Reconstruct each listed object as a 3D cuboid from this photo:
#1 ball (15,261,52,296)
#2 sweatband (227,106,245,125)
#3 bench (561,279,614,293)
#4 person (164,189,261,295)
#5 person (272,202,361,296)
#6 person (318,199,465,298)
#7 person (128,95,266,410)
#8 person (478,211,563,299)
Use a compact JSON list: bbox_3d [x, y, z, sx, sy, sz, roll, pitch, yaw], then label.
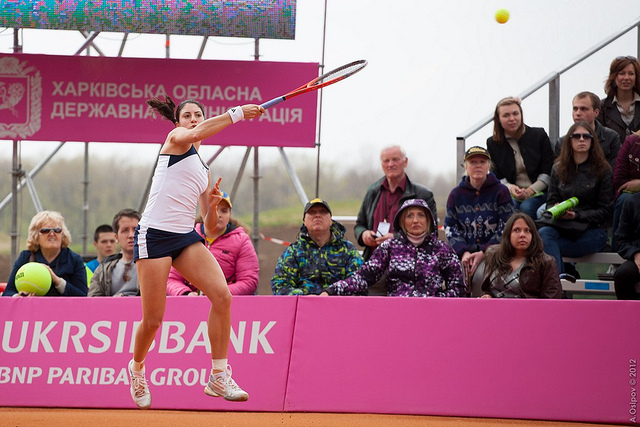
[{"bbox_3d":[-3.153,0.721,9.538,0.340,0.372,0.365,-9,23,4],"label":"ball"},{"bbox_3d":[-0.790,-0.939,8.210,0.127,0.139,0.165,-22,1,4],"label":"sweatband"},{"bbox_3d":[3.143,0.842,9.975,0.854,0.144,0.196,1,9,2],"label":"bench"},{"bbox_3d":[-1.216,0.493,9.751,0.997,1.555,0.905,0,1,-2],"label":"person"},{"bbox_3d":[0.026,0.462,9.577,0.996,1.402,0.779,3,-17,-13],"label":"person"},{"bbox_3d":[0.915,0.370,9.366,1.307,1.053,0.379,0,-3,7],"label":"person"},{"bbox_3d":[-1.174,0.224,8.572,1.172,3.222,1.437,1,-3,-7],"label":"person"},{"bbox_3d":[2.166,0.453,9.270,0.811,0.899,0.261,0,-3,12],"label":"person"}]
